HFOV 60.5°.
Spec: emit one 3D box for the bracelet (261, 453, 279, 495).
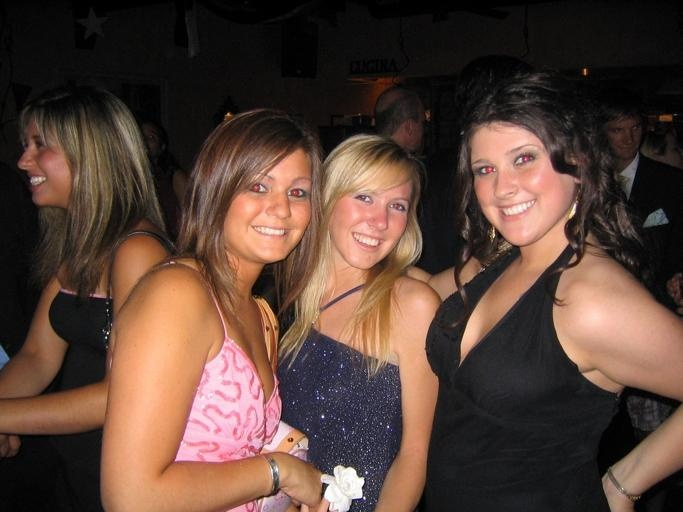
[{"bbox_3d":[-0.256,0.825,2.215,0.036,0.124,0.104,-11,10,-11],"label":"bracelet"}]
